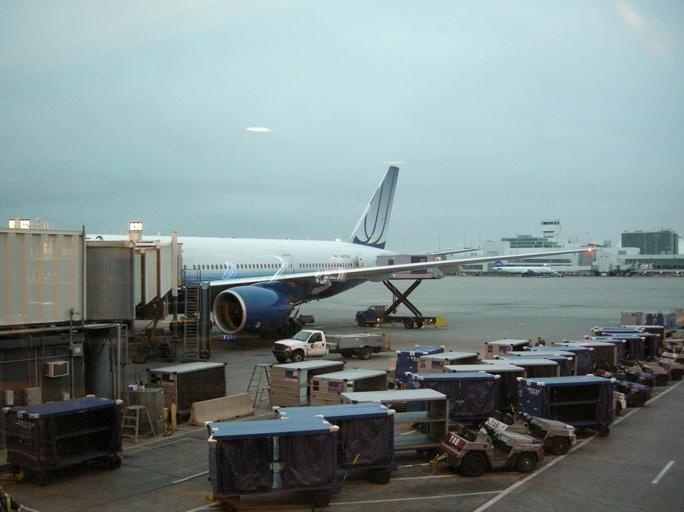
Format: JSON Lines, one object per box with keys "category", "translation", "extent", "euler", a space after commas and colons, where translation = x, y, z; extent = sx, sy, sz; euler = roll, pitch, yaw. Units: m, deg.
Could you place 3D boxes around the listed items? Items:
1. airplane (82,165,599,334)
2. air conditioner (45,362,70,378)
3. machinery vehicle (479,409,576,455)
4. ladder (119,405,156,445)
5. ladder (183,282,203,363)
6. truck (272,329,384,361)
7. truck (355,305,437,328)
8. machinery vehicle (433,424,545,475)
{"category": "airplane", "translation": [-1.721, -0.947, 47.801], "extent": [7.192, 8.522, 25.134], "euler": [-1, 0, 36]}
{"category": "air conditioner", "translation": [-8.882, 3.565, 27.414], "extent": [0.278, 0.455, 0.824], "euler": [-1, 0, 37]}
{"category": "machinery vehicle", "translation": [5.700, 5.354, 26.586], "extent": [2.523, 0.963, 1.437], "euler": [7, -2, -8]}
{"category": "ladder", "translation": [-6.546, 5.355, 28.034], "extent": [1.161, 0.941, 1.087], "euler": [-1, -4, 19]}
{"category": "ladder", "translation": [-6.756, 2.901, 39.250], "extent": [0.767, 2.918, 1.747], "euler": [-1, 0, -10]}
{"category": "truck", "translation": [-0.590, 4.026, 39.118], "extent": [5.104, 1.205, 1.744], "euler": [2, -3, -34]}
{"category": "truck", "translation": [3.176, 3.992, 54.134], "extent": [4.088, 0.920, 1.842], "euler": [1, -2, 9]}
{"category": "machinery vehicle", "translation": [4.201, 5.612, 25.193], "extent": [2.393, 0.872, 1.361], "euler": [-3, 1, -15]}
